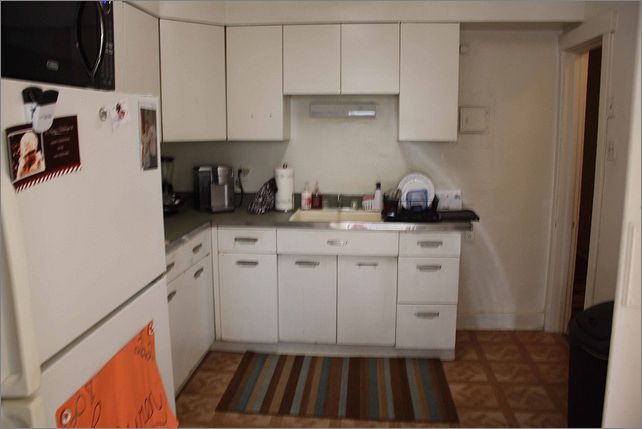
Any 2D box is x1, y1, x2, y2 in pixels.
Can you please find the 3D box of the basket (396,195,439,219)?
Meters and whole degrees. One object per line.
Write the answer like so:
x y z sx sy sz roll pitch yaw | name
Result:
0.730 -0.045 3.527 0.315 0.166 0.222 1 10 7 | basket

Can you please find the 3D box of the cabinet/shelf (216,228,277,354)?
-0.546 0.488 3.772 0.484 0.982 0.572 1 12 -1 | cabinet/shelf

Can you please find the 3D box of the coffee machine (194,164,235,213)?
-0.869 -0.224 3.867 0.368 0.375 0.331 -5 11 -25 | coffee machine

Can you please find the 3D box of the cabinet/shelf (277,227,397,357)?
0.152 0.554 3.728 0.931 0.921 0.539 1 4 9 | cabinet/shelf

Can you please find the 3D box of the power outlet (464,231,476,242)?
1.252 0.177 3.918 0.096 0.138 0.026 3 21 1 | power outlet

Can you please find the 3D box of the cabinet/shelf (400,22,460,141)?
0.910 -1.057 3.711 0.612 0.942 0.610 1 5 3 | cabinet/shelf

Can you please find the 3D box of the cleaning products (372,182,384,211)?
0.475 -0.143 3.818 0.078 0.225 0.113 1 10 9 | cleaning products

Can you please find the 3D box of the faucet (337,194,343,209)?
0.158 -0.108 3.935 0.039 0.113 0.043 1 10 7 | faucet

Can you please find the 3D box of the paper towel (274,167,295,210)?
-0.300 -0.210 3.826 0.150 0.367 0.099 -2 10 -9 | paper towel

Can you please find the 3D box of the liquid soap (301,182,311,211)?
-0.117 -0.154 3.906 0.088 0.211 0.206 1 10 7 | liquid soap
